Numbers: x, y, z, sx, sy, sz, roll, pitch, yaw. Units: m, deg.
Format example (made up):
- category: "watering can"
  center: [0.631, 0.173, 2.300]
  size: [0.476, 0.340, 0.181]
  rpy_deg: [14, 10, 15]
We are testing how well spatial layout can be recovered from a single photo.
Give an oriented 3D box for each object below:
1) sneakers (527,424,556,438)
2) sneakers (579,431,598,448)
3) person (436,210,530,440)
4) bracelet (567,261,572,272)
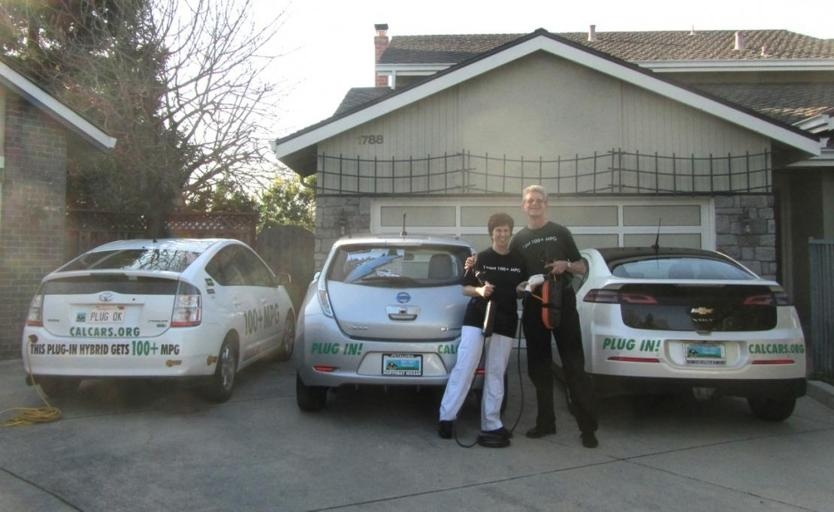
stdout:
- category: "sneakers"
  center: [1.660, 2.343, 9.564]
  size: [0.421, 0.201, 0.156]
  rpy_deg: [2, 2, -9]
- category: "sneakers"
  center: [2.263, 2.367, 9.251]
  size: [0.180, 0.193, 0.199]
  rpy_deg: [-2, -3, 10]
- category: "person"
  center: [0.898, 0.945, 9.395]
  size: [0.948, 2.878, 1.014]
  rpy_deg: [5, 14, 18]
- category: "bracelet"
  center: [2.023, 0.139, 9.399]
  size: [0.070, 0.101, 0.036]
  rpy_deg: [0, 1, -5]
